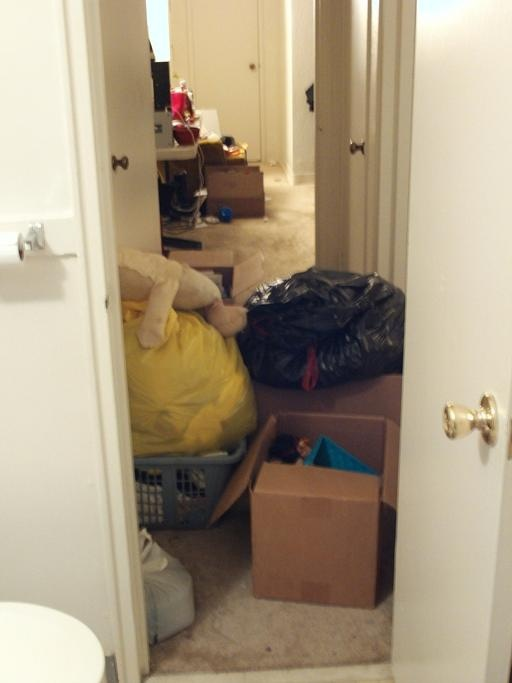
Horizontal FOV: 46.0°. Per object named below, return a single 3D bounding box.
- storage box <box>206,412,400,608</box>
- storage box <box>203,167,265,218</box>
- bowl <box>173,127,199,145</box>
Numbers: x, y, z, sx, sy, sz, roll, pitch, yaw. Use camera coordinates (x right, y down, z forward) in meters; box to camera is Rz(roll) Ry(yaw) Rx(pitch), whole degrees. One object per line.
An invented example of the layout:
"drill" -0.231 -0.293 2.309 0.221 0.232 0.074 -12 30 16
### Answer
"storage box" 0.140 0.512 1.776 0.556 0.395 0.418 5 29 11
"storage box" -0.197 -1.468 5.782 0.490 0.525 0.331 -1 -23 -3
"bowl" -0.472 -1.422 4.166 0.211 0.134 0.168 -10 19 -23
